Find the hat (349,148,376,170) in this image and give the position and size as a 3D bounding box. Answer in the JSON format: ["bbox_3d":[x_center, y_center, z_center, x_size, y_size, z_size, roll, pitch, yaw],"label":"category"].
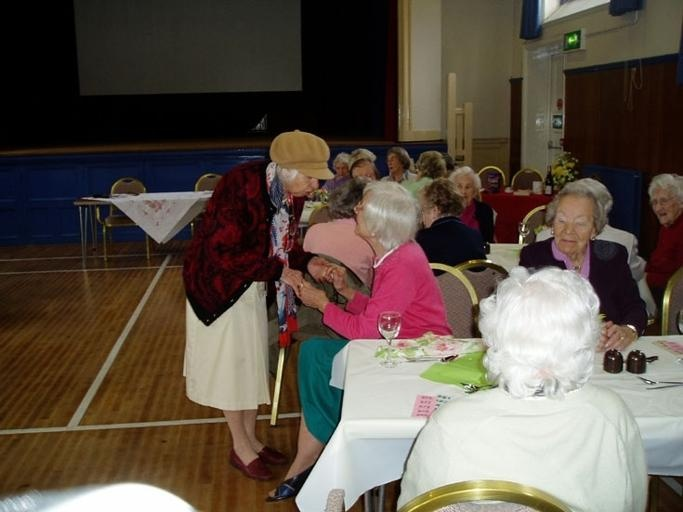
[{"bbox_3d":[0.232,-1.148,5.765,0.317,0.187,0.416,-1,8,3],"label":"hat"}]

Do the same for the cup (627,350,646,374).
[{"bbox_3d":[1.101,0.401,1.866,0.064,0.082,0.067,-4,9,1],"label":"cup"}]

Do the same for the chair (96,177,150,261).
[{"bbox_3d":[-3.195,-0.557,7.406,0.754,1.213,0.855,7,10,38],"label":"chair"}]

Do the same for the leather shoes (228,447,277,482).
[{"bbox_3d":[-0.475,1.103,2.684,0.206,0.090,0.116,18,1,30],"label":"leather shoes"}]

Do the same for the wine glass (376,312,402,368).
[{"bbox_3d":[0.198,0.310,2.089,0.084,0.196,0.286,0,14,5],"label":"wine glass"}]

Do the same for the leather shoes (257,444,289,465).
[{"bbox_3d":[-0.378,1.102,2.794,0.180,0.087,0.074,5,18,-1],"label":"leather shoes"}]

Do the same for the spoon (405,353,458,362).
[{"bbox_3d":[0.365,0.413,2.018,0.207,0.014,0.065,0,15,6],"label":"spoon"}]

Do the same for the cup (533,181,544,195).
[{"bbox_3d":[2.562,-0.903,6.569,0.154,0.214,0.172,0,10,0],"label":"cup"}]

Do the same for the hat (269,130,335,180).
[{"bbox_3d":[-0.182,-0.522,2.300,0.257,0.165,0.205,23,34,22],"label":"hat"}]

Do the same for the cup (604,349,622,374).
[{"bbox_3d":[1.019,0.393,1.883,0.065,0.083,0.072,2,0,7],"label":"cup"}]
